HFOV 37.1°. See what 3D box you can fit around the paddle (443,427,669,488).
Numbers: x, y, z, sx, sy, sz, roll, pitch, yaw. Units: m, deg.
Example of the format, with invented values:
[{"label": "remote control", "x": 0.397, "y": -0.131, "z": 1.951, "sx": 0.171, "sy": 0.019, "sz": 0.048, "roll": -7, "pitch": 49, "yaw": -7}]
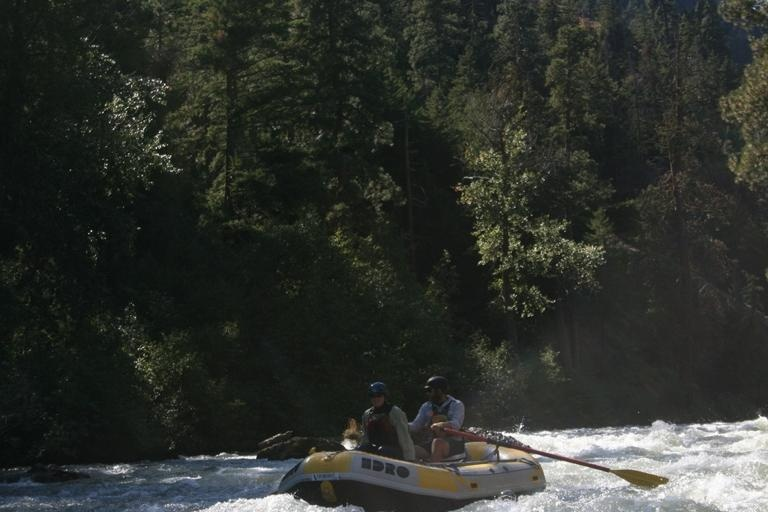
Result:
[{"label": "paddle", "x": 8.172, "y": 9.398, "z": 51.888, "sx": 8.603, "sy": 0.894, "sz": 0.541, "roll": 14, "pitch": -46, "yaw": 1}]
